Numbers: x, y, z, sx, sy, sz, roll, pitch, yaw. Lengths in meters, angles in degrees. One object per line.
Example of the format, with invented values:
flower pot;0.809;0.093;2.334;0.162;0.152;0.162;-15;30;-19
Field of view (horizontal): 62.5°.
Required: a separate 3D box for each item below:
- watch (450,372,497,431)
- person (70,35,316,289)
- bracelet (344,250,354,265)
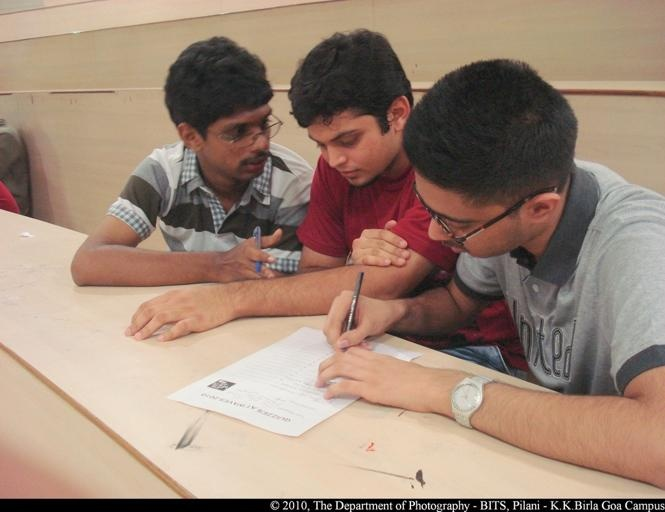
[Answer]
watch;0.269;0.281;1.092;0.056;0.092;0.105;-4;19;47
person;-0.558;-0.426;2.277;1.156;0.997;0.673;-12;37;-22
bracelet;0.061;0.003;1.963;0.034;0.046;0.045;-2;-21;2
